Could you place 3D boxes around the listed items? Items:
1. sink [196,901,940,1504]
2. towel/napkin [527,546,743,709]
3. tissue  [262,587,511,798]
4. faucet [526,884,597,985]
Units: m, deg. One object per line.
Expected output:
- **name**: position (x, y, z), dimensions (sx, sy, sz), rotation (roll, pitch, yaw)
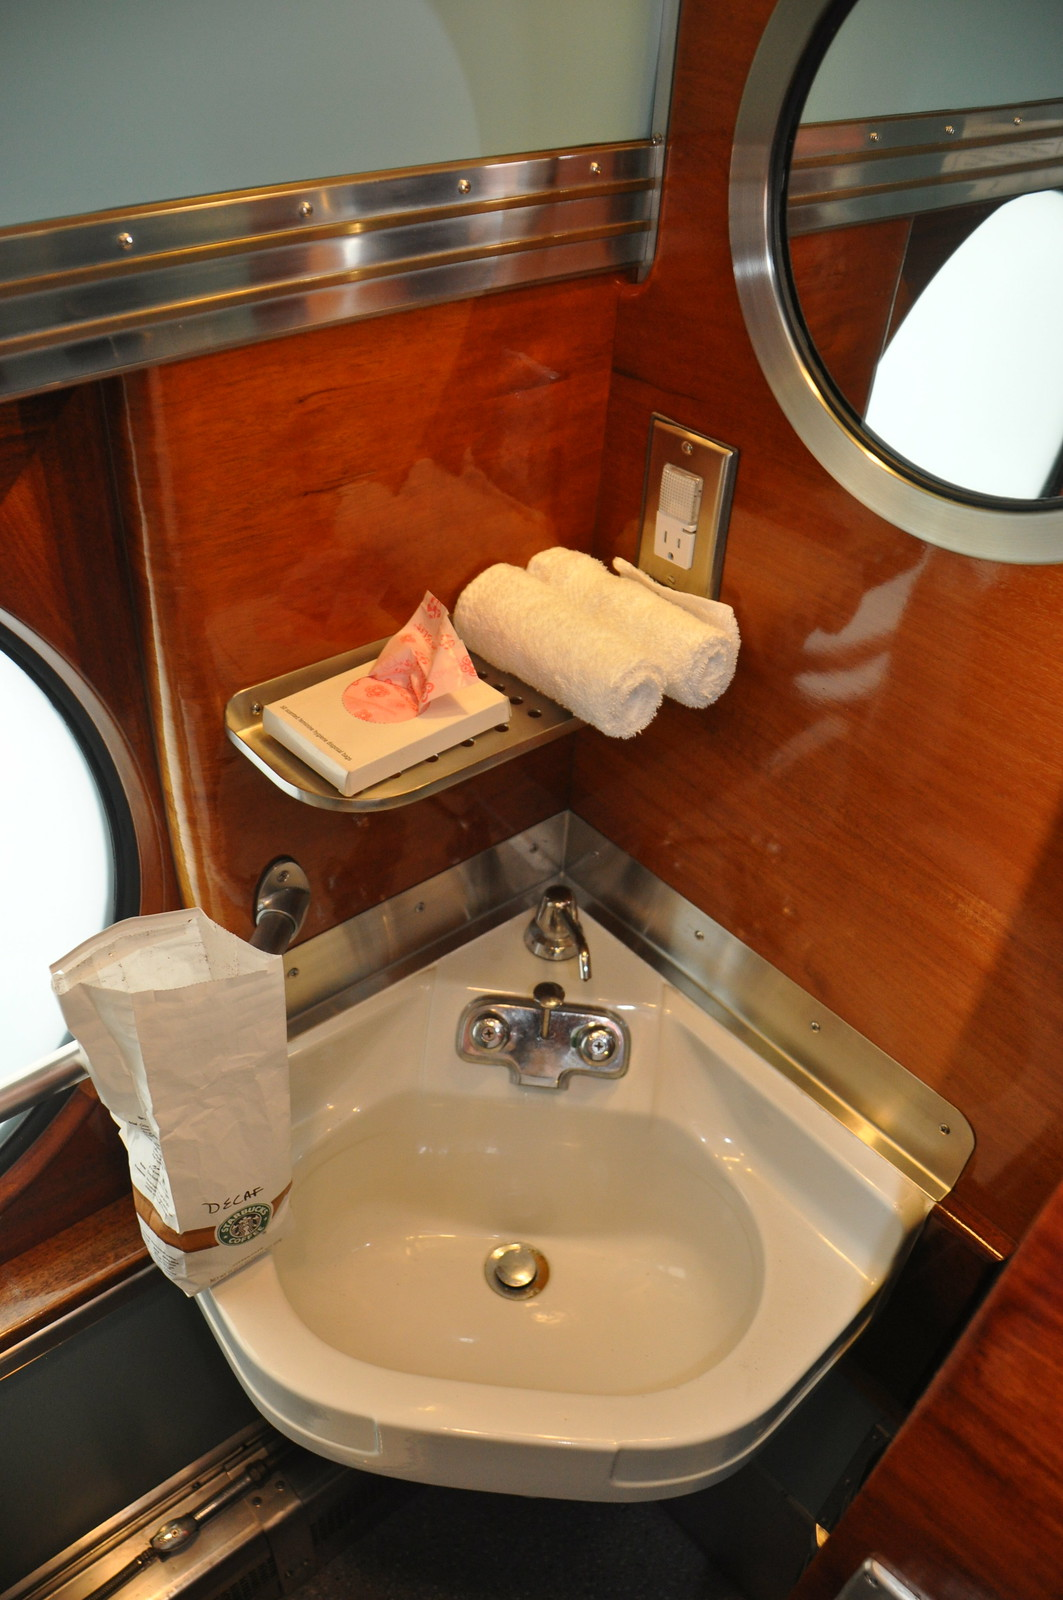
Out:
- **sink**: position (-0.005, 0.366, 0.967), dimensions (0.498, 0.204, 0.481), rotation (-21, 38, -35)
- **towel/napkin**: position (0.093, -0.148, 0.985), dimensions (0.102, 0.069, 0.168), rotation (-28, 49, -27)
- **tissue **: position (-0.109, -0.086, 0.867), dimensions (0.118, 0.087, 0.155), rotation (30, 43, 33)
- **faucet**: position (0.021, 0.120, 1.134), dimensions (0.051, 0.067, 0.098), rotation (-14, 46, -15)
